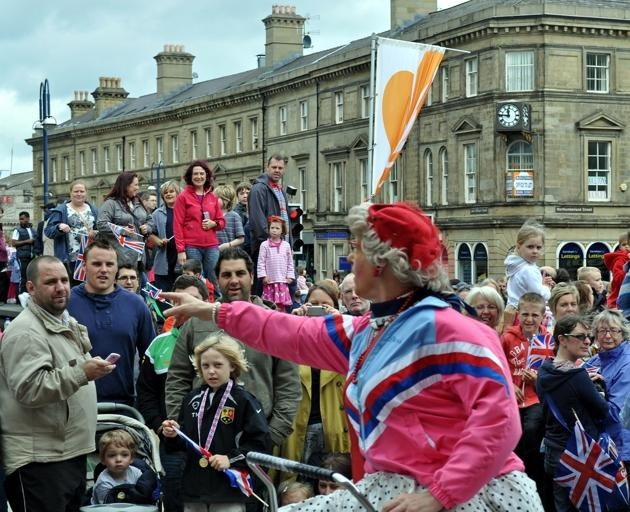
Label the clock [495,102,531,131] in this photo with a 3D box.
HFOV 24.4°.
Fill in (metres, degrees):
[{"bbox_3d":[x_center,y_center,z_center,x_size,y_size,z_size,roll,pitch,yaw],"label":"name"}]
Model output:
[{"bbox_3d":[6.430,-4.498,46.828,0.934,0.896,0.516,-1,-7,27],"label":"clock"}]
